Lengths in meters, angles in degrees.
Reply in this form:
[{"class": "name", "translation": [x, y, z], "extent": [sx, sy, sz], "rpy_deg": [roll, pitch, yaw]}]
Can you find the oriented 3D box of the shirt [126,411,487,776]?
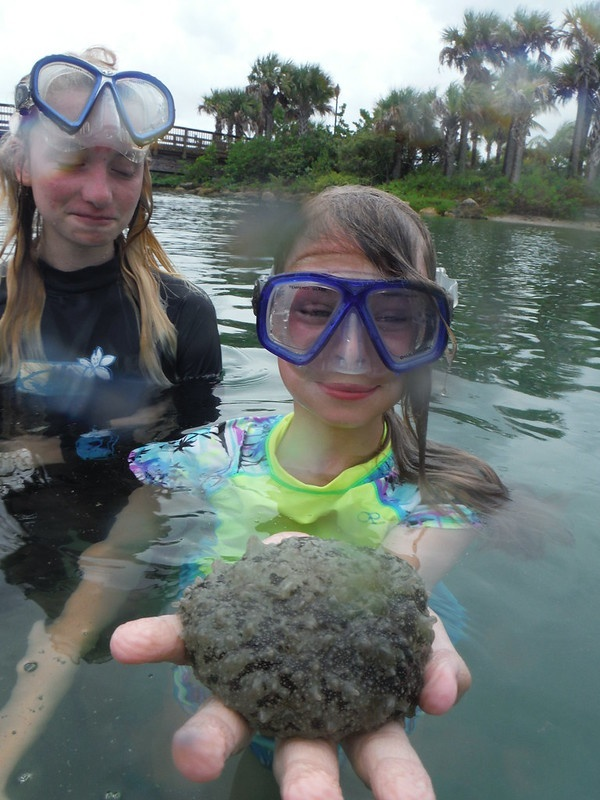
[{"class": "shirt", "translation": [-0.052, 0.443, 2.169], "extent": [1.373, 1.120, 0.693], "rpy_deg": [2, 6, 5]}]
